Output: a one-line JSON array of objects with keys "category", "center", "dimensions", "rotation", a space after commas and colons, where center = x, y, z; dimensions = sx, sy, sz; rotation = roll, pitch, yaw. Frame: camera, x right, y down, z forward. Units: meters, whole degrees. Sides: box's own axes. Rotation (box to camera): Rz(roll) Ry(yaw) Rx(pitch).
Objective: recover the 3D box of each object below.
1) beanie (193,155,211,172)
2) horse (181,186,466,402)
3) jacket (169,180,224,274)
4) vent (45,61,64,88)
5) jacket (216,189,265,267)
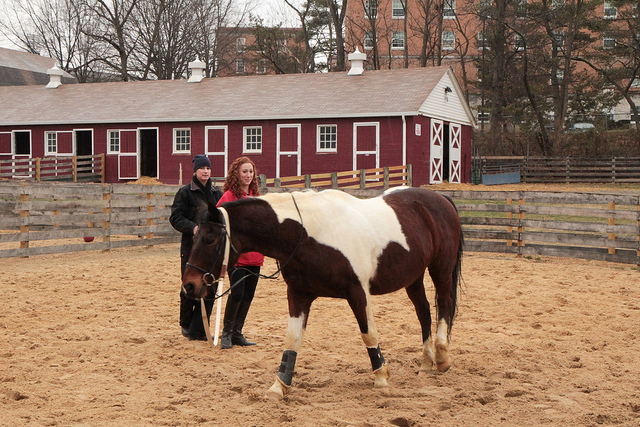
[{"category": "beanie", "center": [-2.599, -1.121, 18.083], "dimensions": [0.320, 0.352, 0.305], "rotation": [1, 4, 29]}, {"category": "horse", "center": [0.526, 1.618, 17.634], "dimensions": [6.738, 4.774, 1.873], "rotation": [-6, 11, -26]}, {"category": "jacket", "center": [-2.937, 0.291, 18.318], "dimensions": [0.931, 2.247, 1.942], "rotation": [2, -5, -9]}, {"category": "vent", "center": [-13.685, -7.045, 42.731], "dimensions": [0.992, 1.657, 1.058], "rotation": [1, 1, 3]}, {"category": "jacket", "center": [-1.704, 0.406, 17.829], "dimensions": [0.775, 1.864, 0.982], "rotation": [0, -1, -6]}]
